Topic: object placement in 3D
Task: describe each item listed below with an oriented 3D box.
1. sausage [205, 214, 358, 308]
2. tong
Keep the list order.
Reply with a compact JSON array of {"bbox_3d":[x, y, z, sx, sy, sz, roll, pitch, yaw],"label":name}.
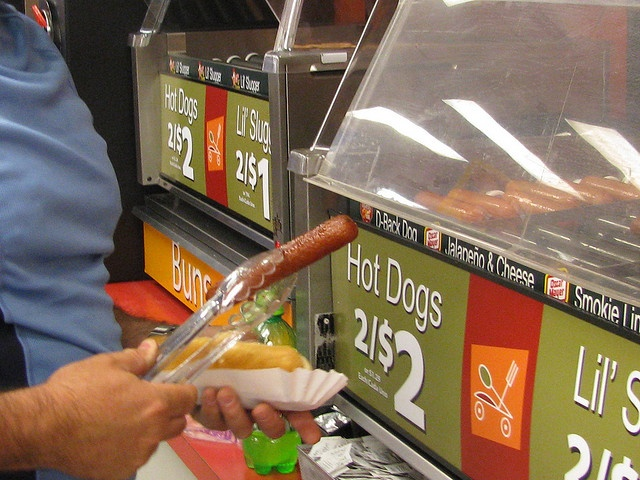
[{"bbox_3d":[-0.042,0.021,0.745,0.217,0.082,0.049,-15,31,-28],"label":"sausage"},{"bbox_3d":[-0.194,0.151,1.026,0.086,0.110,0.335,44,76,2],"label":"tong"}]
